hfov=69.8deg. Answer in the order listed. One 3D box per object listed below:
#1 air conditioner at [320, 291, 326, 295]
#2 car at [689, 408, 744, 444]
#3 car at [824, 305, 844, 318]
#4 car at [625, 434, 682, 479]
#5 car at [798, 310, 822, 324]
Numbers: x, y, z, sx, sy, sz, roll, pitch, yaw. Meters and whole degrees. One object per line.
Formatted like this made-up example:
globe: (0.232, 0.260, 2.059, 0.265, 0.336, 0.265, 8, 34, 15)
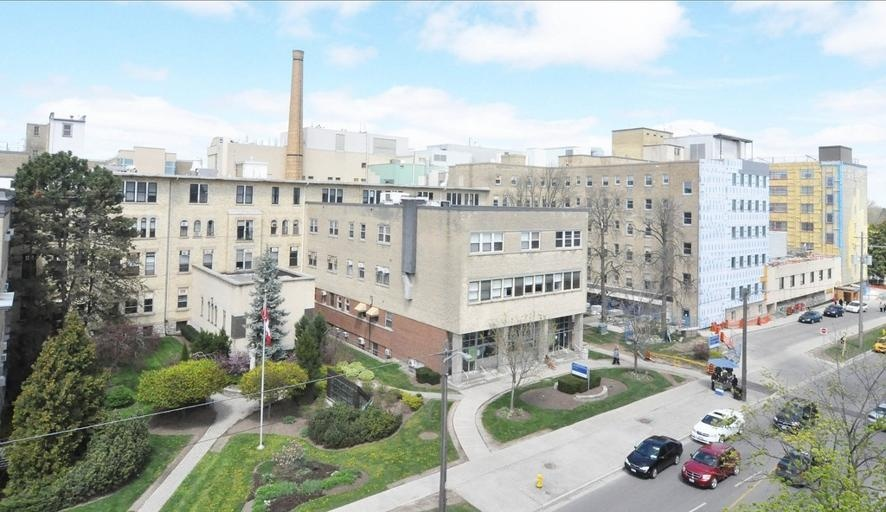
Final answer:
air conditioner: (-15.979, 5.008, 85.004, 0.729, 0.423, 0.706, 3, -5, -35)
car: (26.330, 16.056, 60.735, 3.148, 2.068, 6.834, -3, -3, 44)
car: (60.417, 8.560, 98.327, 3.311, 1.665, 1.823, -2, 5, -36)
car: (19.110, 18.312, 58.019, 4.847, 2.941, 1.855, -1, 5, -25)
car: (55.108, 9.142, 95.273, 3.136, 1.556, 1.991, -2, 4, -30)
